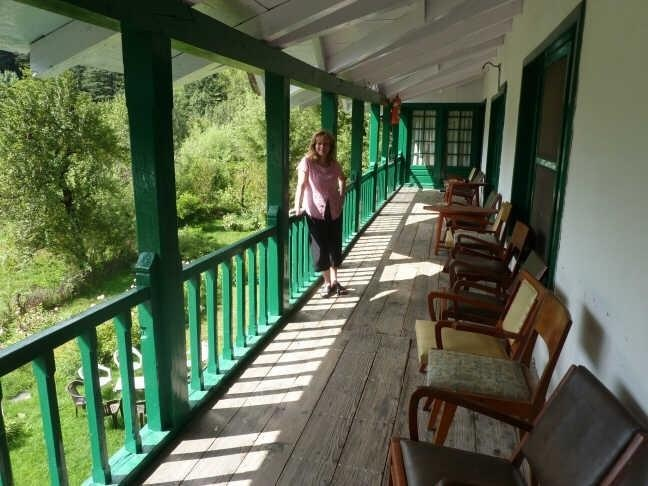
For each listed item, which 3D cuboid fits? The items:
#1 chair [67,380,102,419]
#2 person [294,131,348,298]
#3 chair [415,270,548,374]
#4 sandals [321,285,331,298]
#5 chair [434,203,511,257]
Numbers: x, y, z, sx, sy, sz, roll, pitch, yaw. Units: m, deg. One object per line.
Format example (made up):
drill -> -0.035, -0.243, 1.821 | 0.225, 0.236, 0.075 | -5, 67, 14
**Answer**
chair -> -4.293, 2.791, 8.913 | 0.375, 0.572, 0.433 | -8, 18, -17
person -> -0.042, -0.275, 5.382 | 0.606, 1.807, 0.357 | -5, 13, -10
chair -> 1.103, 0.412, 3.748 | 0.694, 1.108, 0.767 | 10, 13, 10
sandals -> 0.026, 0.547, 5.626 | 0.106, 0.122, 0.296 | 0, 2, 4
chair -> 1.963, -0.189, 6.737 | 0.706, 0.826, 0.875 | 4, 17, 9
